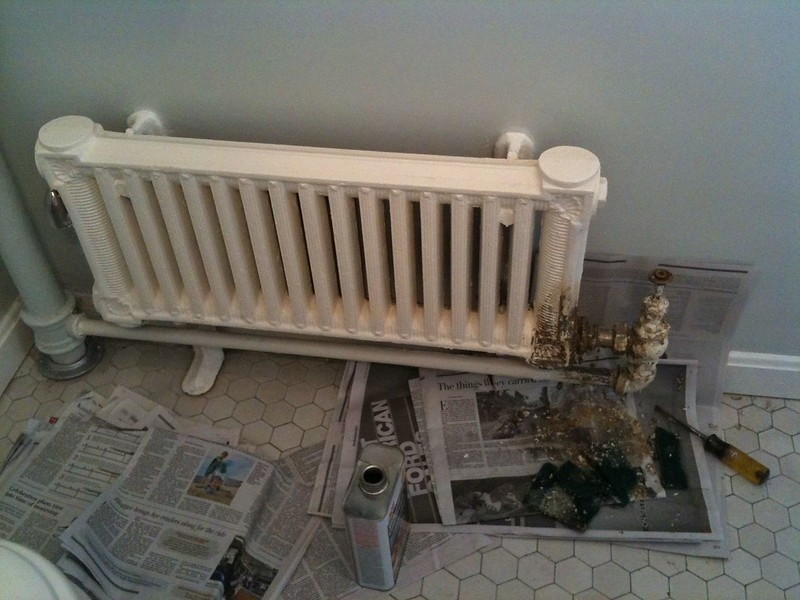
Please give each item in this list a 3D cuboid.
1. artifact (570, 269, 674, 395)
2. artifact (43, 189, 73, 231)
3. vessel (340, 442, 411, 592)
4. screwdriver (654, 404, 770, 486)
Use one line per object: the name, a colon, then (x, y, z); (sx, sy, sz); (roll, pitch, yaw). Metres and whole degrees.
artifact: (0.507, 0.065, 1.452); (0.219, 0.319, 0.105); (2, 47, 11)
artifact: (-0.749, -0.203, 1.412); (0.053, 0.086, 0.023); (-12, 29, 12)
vessel: (-0.049, 0.467, 1.314); (0.096, 0.272, 0.184); (7, 48, 7)
screwdriver: (0.743, 0.358, 1.524); (0.237, 0.041, 0.042); (38, 57, 20)
